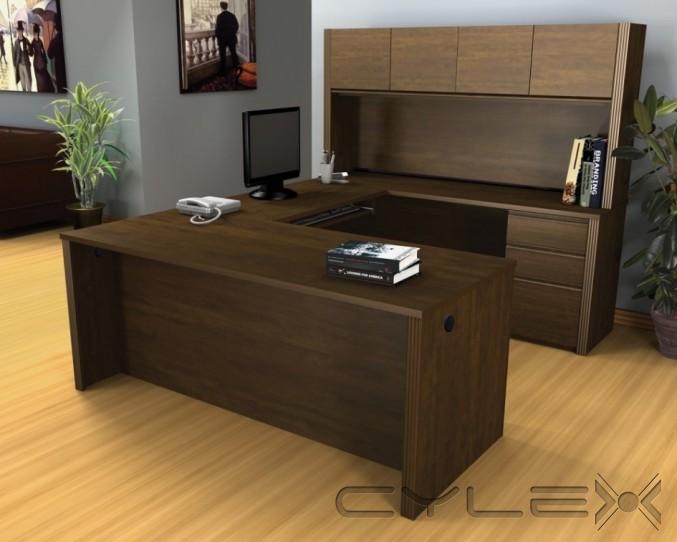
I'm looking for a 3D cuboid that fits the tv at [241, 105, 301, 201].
[{"bbox_3d":[-0.440,-0.782,3.421,0.294,0.556,0.610,13,23,25],"label":"tv"}]

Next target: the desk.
[{"bbox_3d":[-0.101,0.257,2.318,1.529,0.647,1.631,11,20,34],"label":"desk"}]

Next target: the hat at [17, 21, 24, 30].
[{"bbox_3d":[-3.612,-2.768,5.831,0.082,0.077,0.045,15,21,38],"label":"hat"}]
